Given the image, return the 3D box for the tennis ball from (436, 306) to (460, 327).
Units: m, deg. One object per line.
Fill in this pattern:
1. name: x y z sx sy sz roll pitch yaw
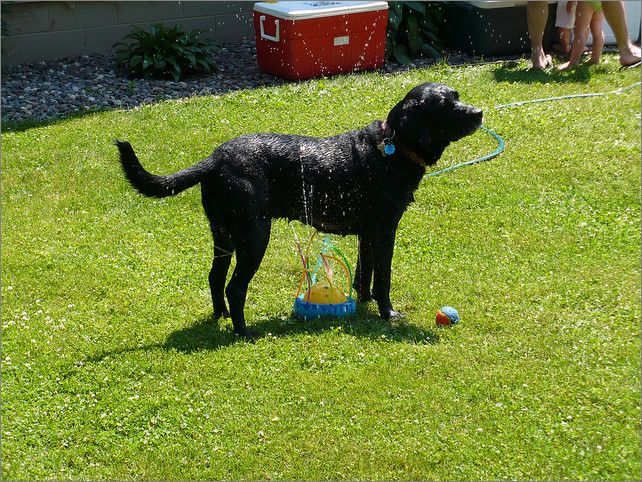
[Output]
1. tennis ball: 1.081 0.649 7.319 0.160 0.164 0.155 5 14 -1

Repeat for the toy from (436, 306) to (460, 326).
1. toy: 1.075 0.637 7.343 0.160 0.165 0.155 0 15 -18

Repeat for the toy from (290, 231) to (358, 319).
1. toy: 0.027 0.289 7.550 0.564 0.732 0.532 -2 9 -30
